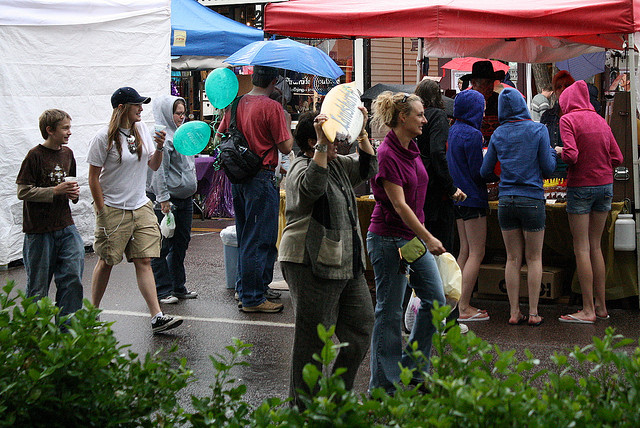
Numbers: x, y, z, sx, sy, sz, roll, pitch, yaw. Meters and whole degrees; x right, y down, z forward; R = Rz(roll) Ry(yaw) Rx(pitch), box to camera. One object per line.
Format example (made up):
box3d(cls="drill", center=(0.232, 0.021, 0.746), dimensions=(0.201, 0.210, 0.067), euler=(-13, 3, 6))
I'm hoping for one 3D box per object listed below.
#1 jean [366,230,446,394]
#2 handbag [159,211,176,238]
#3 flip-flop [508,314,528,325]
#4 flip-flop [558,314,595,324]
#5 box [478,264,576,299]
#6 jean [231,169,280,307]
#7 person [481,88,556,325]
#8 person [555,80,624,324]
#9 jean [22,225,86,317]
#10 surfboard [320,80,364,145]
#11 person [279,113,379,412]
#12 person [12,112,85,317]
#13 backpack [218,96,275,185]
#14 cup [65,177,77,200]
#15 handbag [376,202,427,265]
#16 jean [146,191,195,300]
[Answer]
box3d(cls="jean", center=(0.691, 0.513, 4.261), dimensions=(0.644, 1.961, 0.472), euler=(-2, 9, -3))
box3d(cls="handbag", center=(-1.914, 0.125, 6.552), dimensions=(0.171, 0.292, 0.158), euler=(-20, 58, -37))
box3d(cls="flip-flop", center=(2.329, 1.233, 6.082), dimensions=(0.265, 0.073, 0.091), euler=(-3, 8, -15))
box3d(cls="flip-flop", center=(2.986, 1.237, 6.060), dimensions=(0.291, 0.073, 0.120), euler=(5, 0, 4))
box3d(cls="box", center=(2.611, 0.977, 7.058), dimensions=(1.131, 0.452, 0.376), euler=(6, -10, -13))
box3d(cls="jean", center=(-0.790, 0.295, 6.433), dimensions=(0.564, 1.709, 0.347), euler=(0, 6, 2))
box3d(cls="person", center=(2.266, -0.068, 5.943), dimensions=(0.719, 2.690, 0.358), euler=(3, 7, 25))
box3d(cls="person", center=(3.107, -0.157, 6.100), dimensions=(0.727, 2.784, 0.564), euler=(2, 7, 18))
box3d(cls="jean", center=(-2.685, 0.584, 5.212), dimensions=(0.556, 0.874, 0.469), euler=(-3, 7, -17))
box3d(cls="surfboard", center=(0.161, -0.707, 3.587), dimensions=(0.228, 0.438, 0.614), euler=(2, 8, 18))
box3d(cls="person", center=(0.066, 0.329, 3.655), dimensions=(0.677, 2.056, 0.455), euler=(-2, 7, -16))
box3d(cls="person", center=(-2.702, 0.005, 5.202), dimensions=(0.556, 2.035, 0.555), euler=(-3, 7, -22))
box3d(cls="backpack", center=(-0.951, -0.879, 6.230), dimensions=(0.593, 1.041, 0.407), euler=(4, 8, 35))
box3d(cls="cup", center=(-2.492, -0.262, 5.211), dimensions=(0.100, 0.226, 0.169), euler=(-4, 8, -27))
box3d(cls="handbag", center=(0.626, 0.164, 4.066), dimensions=(0.209, 0.567, 0.060), euler=(-33, -13, 14))
box3d(cls="jean", center=(-1.957, 0.443, 6.927), dimensions=(0.540, 1.396, 0.389), euler=(-3, 7, -17))
